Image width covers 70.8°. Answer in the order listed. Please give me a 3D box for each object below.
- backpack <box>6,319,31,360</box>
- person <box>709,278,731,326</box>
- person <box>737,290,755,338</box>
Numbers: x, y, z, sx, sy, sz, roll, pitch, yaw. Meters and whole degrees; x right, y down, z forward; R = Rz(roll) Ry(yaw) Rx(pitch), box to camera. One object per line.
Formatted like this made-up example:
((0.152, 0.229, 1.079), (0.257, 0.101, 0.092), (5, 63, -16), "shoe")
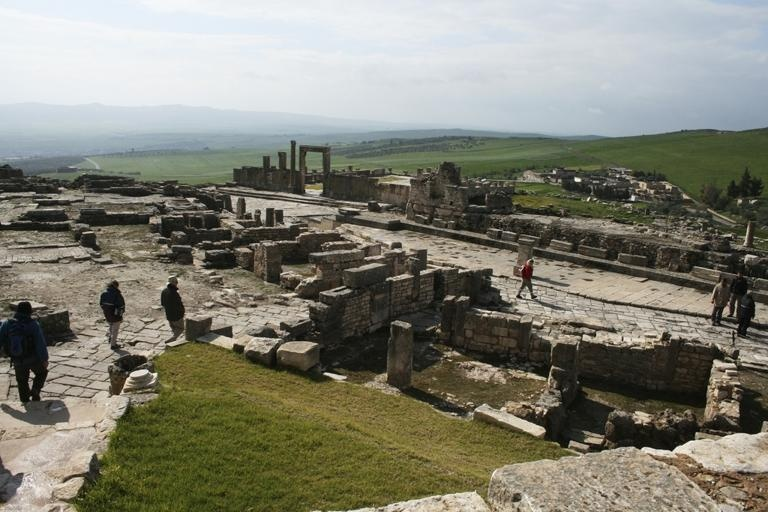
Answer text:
((-7.930, 1.789, 11.674), (0.439, 0.805, 0.469), (-8, 18, -28), "backpack")
((11.297, 1.464, 18.083), (0.473, 1.669, 0.892), (10, 19, 29), "person")
((11.665, 1.855, 17.367), (0.439, 1.355, 0.826), (10, 18, 29), "person")
